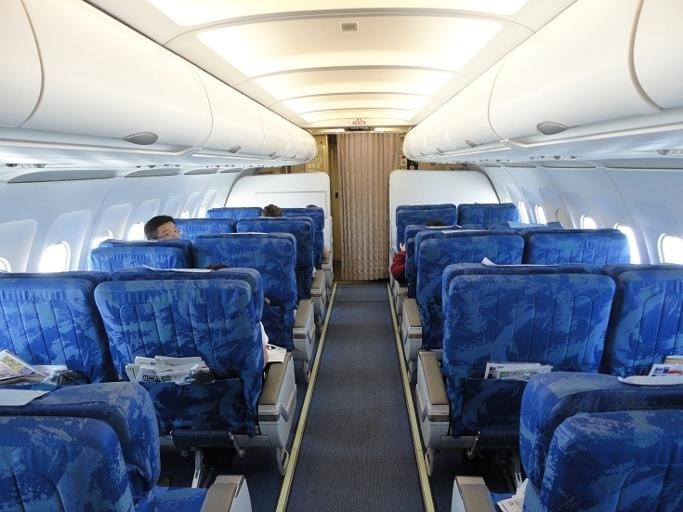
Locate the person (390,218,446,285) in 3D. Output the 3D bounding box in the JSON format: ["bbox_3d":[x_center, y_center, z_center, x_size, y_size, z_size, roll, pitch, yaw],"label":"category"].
[{"bbox_3d":[0.989,-0.064,6.171,0.586,0.760,0.843,-1,21,3],"label":"person"}]

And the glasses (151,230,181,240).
[{"bbox_3d":[-1.656,-0.188,4.929,0.272,0.066,0.163,-1,4,0],"label":"glasses"}]
